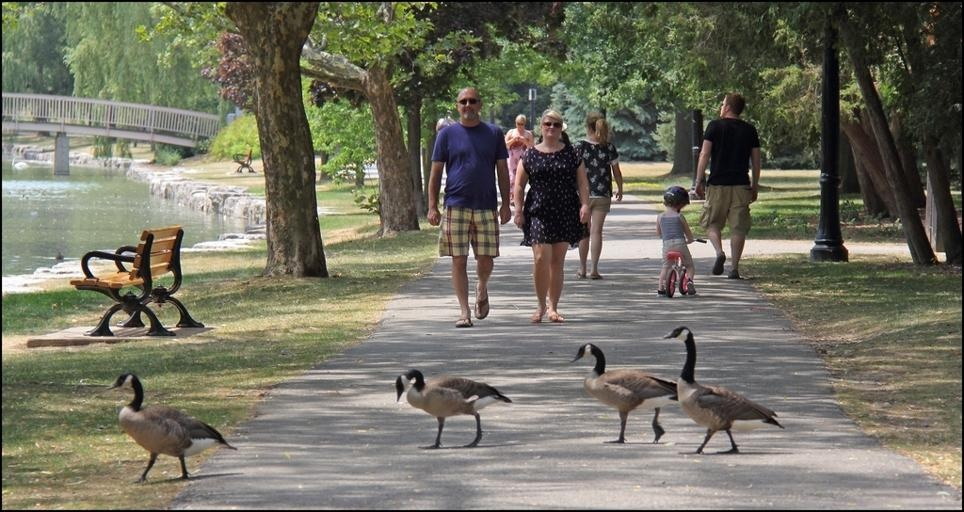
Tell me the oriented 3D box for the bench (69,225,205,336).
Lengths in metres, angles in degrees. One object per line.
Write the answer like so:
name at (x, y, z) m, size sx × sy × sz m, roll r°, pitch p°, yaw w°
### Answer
bench at (-7.932, 0.553, 31.457) m, size 2.663 × 2.025 × 2.565 m, roll -1°, pitch 4°, yaw 3°

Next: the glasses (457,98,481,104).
glasses at (-0.239, -3.240, 28.353) m, size 0.414 × 0.138 × 0.115 m, roll -1°, pitch 7°, yaw -5°

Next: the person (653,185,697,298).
person at (4.604, -0.336, 31.640) m, size 1.204 × 2.416 × 1.254 m, roll 1°, pitch -1°, yaw 21°

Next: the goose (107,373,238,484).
goose at (-5.346, 2.961, 23.586) m, size 1.662 × 1.714 × 0.561 m, roll 1°, pitch 8°, yaw 15°

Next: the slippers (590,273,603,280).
slippers at (2.771, 0.448, 32.843) m, size 0.160 × 0.102 × 0.270 m, roll 3°, pitch 9°, yaw 18°

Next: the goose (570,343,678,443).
goose at (2.771, 2.405, 24.289) m, size 2.397 × 1.481 × 0.834 m, roll 2°, pitch -1°, yaw 28°

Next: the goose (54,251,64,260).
goose at (-14.450, -0.034, 46.830) m, size 0.283 × 0.405 × 0.844 m, roll -2°, pitch -2°, yaw -5°

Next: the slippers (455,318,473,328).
slippers at (-0.355, 1.402, 28.998) m, size 0.253 × 0.175 × 0.506 m, roll 0°, pitch -3°, yaw 9°

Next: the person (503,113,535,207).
person at (0.984, -2.540, 36.781) m, size 1.065 × 2.443 × 0.876 m, roll 13°, pitch 12°, yaw 40°

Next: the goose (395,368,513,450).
goose at (-0.560, 2.666, 24.354) m, size 1.821 × 1.350 × 0.693 m, roll -1°, pitch 8°, yaw -3°

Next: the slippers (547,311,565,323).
slippers at (1.590, 1.287, 29.100) m, size 0.176 × 0.187 × 0.450 m, roll 7°, pitch -20°, yaw -15°
